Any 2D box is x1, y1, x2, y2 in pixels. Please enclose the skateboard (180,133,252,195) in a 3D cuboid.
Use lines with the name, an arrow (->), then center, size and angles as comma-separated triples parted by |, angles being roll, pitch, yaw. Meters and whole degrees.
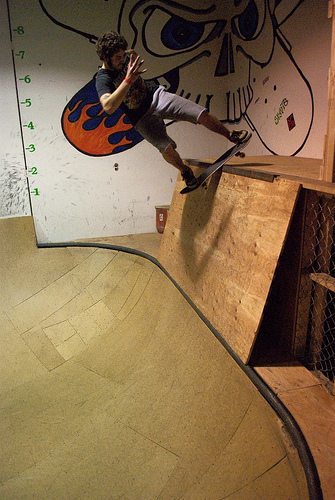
skateboard -> 0.385, -0.668, 2.846 | 0.351, 0.507, 0.452 | -7, 22, -30
